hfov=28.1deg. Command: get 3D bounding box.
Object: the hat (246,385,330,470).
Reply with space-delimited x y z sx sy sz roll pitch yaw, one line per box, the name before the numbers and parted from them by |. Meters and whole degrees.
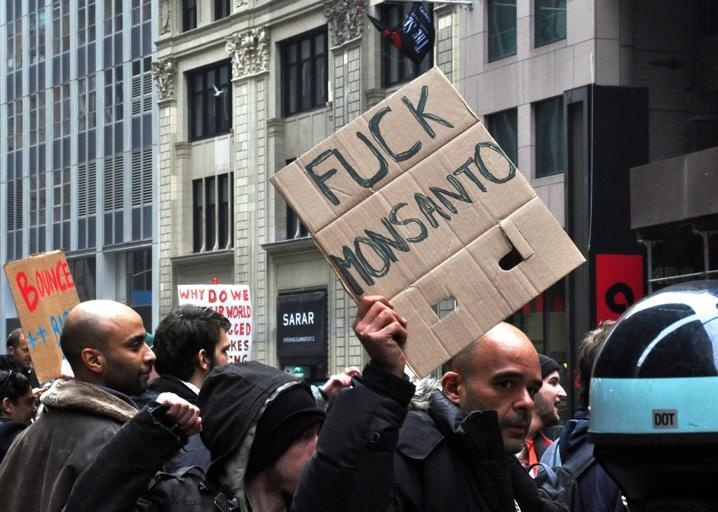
hat | -0.519 1.258 10.910 0.556 0.650 0.749 -10 9 -30
